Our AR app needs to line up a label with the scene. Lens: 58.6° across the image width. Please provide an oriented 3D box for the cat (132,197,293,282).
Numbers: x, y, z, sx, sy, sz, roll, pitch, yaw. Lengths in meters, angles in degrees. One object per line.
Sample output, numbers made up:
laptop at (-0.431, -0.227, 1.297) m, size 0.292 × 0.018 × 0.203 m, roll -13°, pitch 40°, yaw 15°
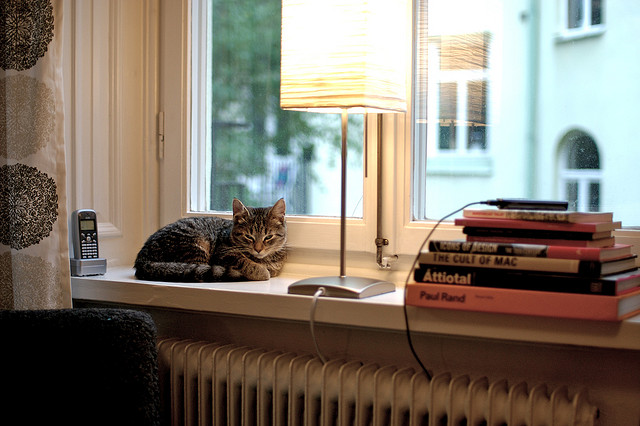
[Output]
cat at (-0.402, 0.129, 2.125) m, size 0.424 × 0.242 × 0.338 m, roll -5°, pitch -7°, yaw 13°

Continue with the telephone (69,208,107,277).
telephone at (-0.862, 0.114, 2.105) m, size 0.122 × 0.241 × 0.064 m, roll -1°, pitch 5°, yaw -21°
